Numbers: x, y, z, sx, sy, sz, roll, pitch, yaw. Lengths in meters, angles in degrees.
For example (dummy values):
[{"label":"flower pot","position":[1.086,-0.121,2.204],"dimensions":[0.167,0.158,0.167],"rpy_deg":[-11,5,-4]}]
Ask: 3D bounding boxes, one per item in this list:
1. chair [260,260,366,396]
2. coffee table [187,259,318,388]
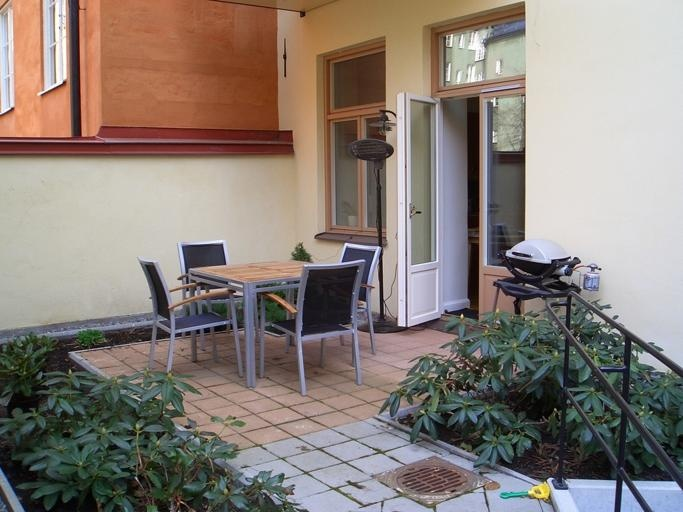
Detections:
[{"label":"chair","position":[-0.182,0.568,4.334],"dimensions":[0.627,1.051,0.467],"rpy_deg":[-5,8,-34]},{"label":"coffee table","position":[-0.747,0.380,4.813],"dimensions":[1.045,0.947,1.334],"rpy_deg":[-5,9,-29]}]
